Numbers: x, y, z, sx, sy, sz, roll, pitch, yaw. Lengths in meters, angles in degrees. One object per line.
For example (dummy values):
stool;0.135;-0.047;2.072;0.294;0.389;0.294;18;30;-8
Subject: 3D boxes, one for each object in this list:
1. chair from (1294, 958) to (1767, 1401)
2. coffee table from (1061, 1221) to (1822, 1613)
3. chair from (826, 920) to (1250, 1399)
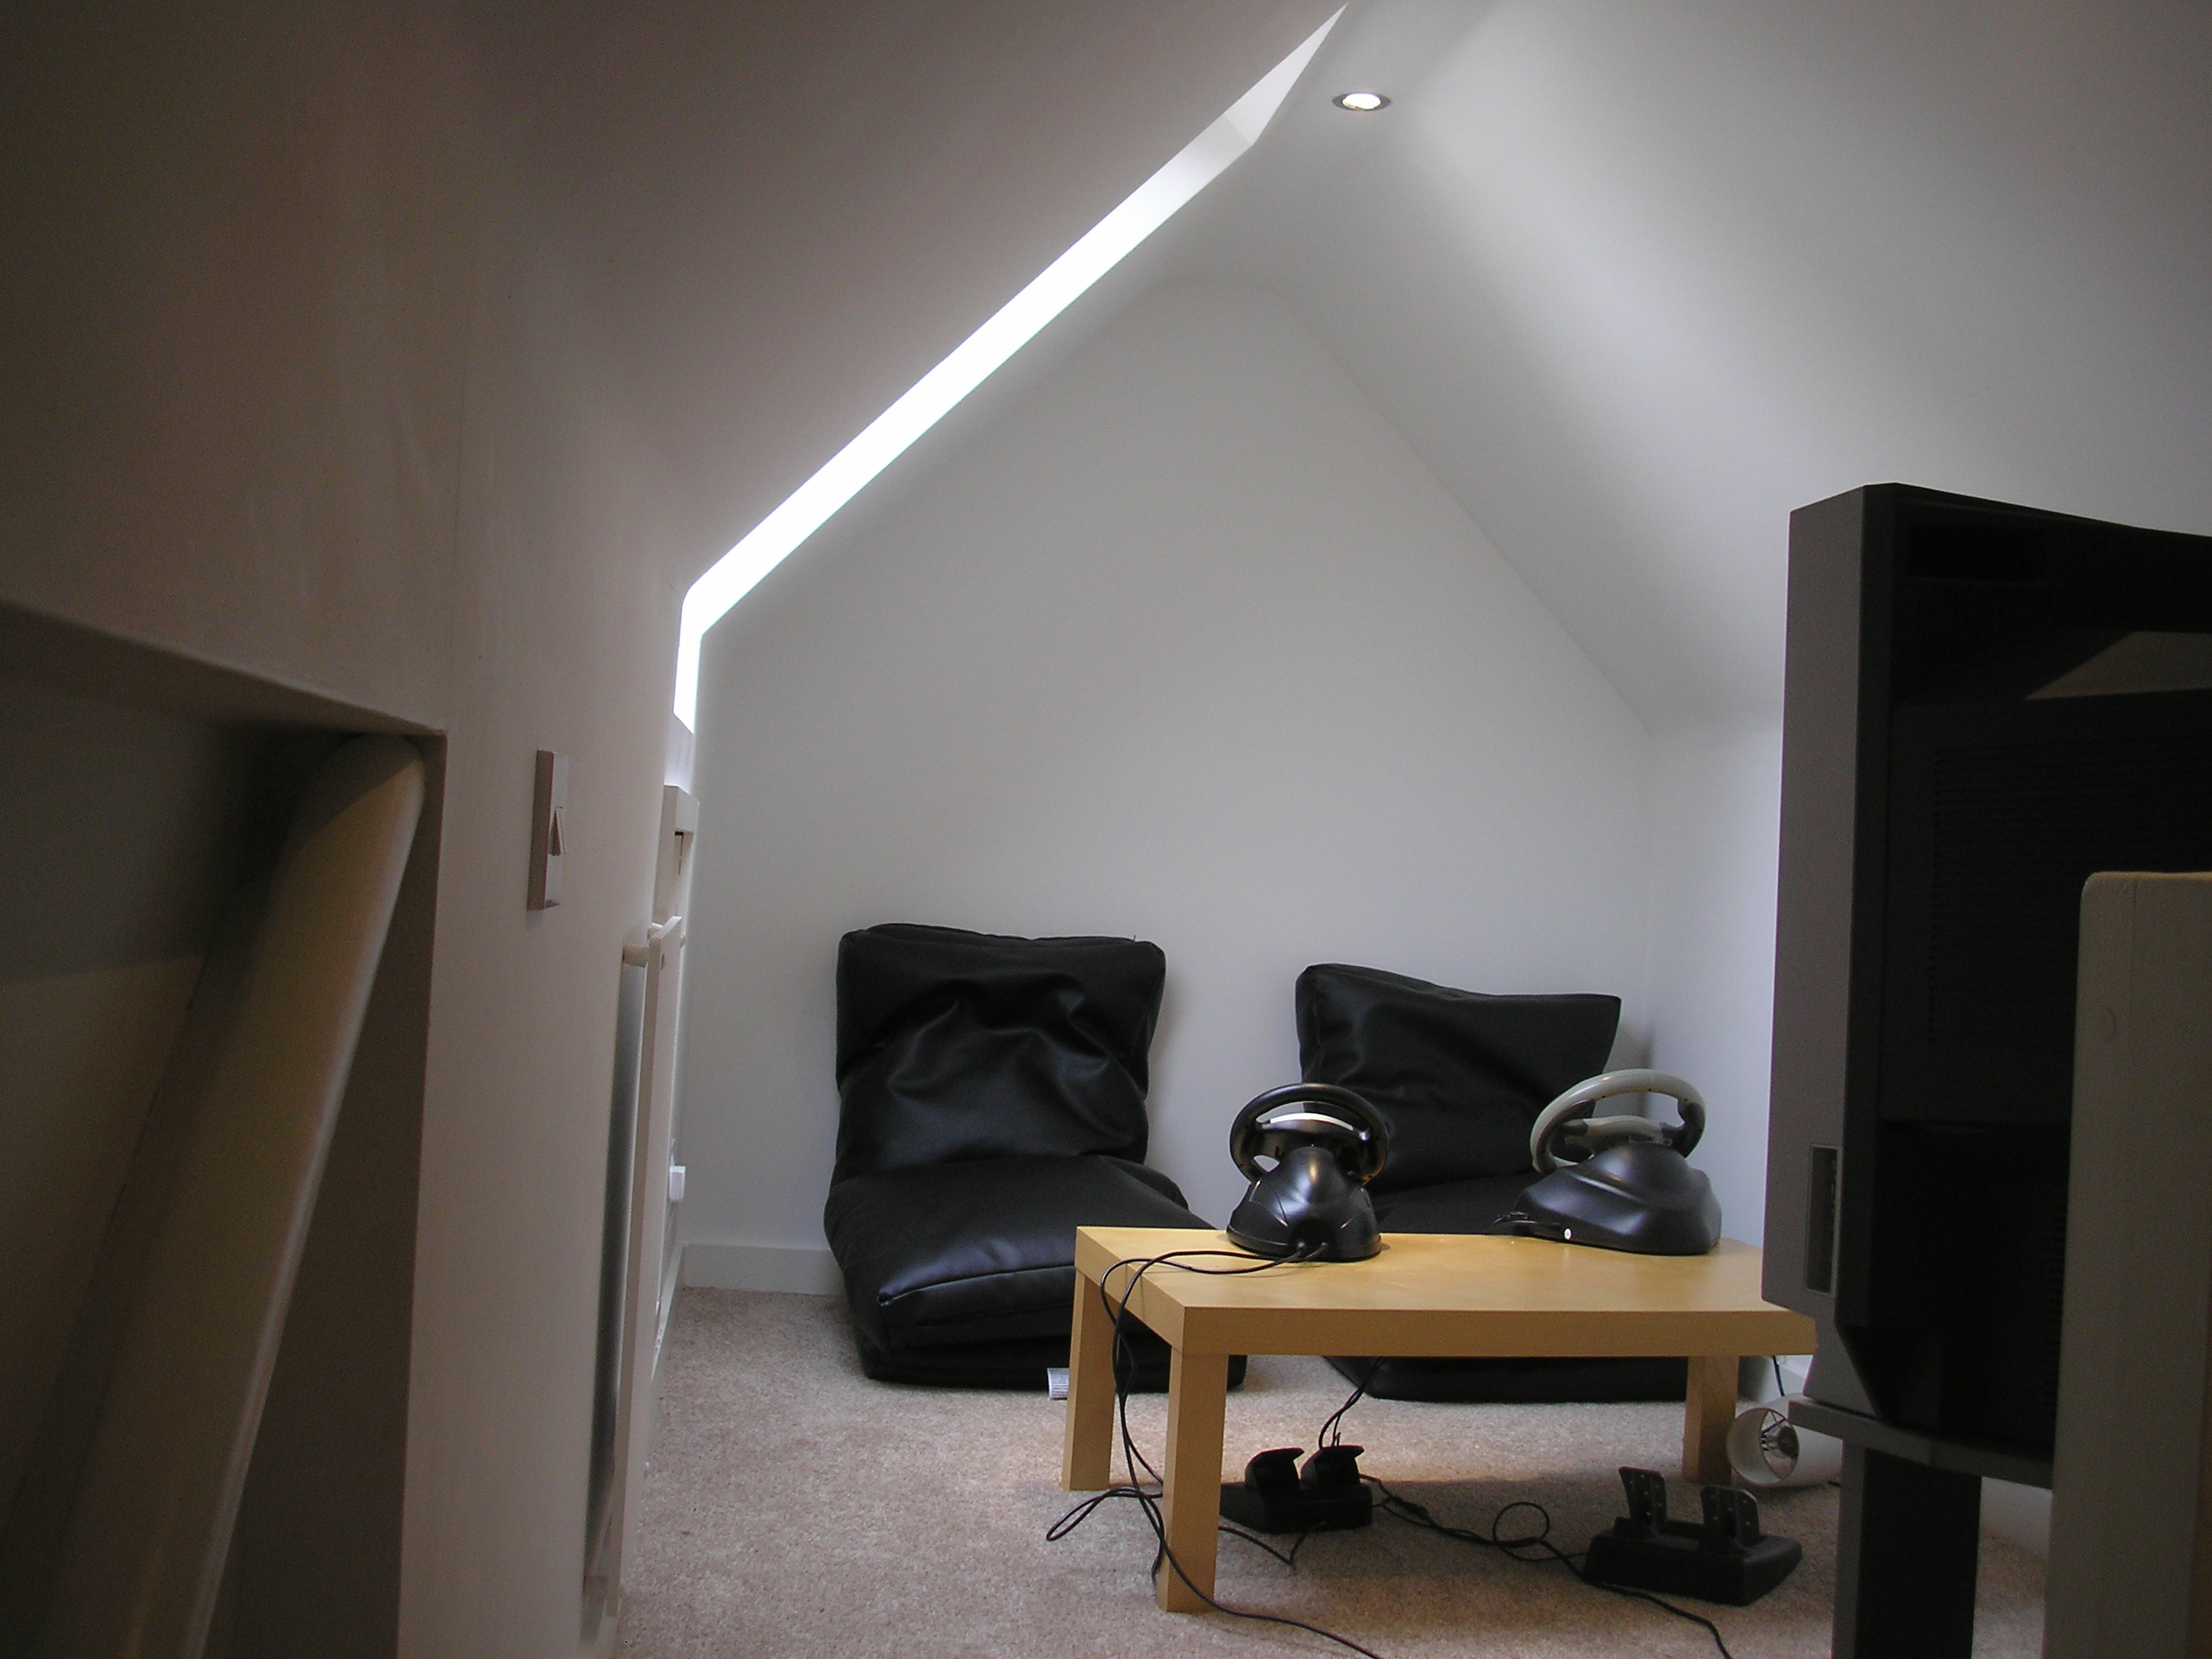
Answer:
chair;0.979;0.956;4.173;0.793;1.072;1.183;4;6;-5
coffee table;0.559;1.031;3.027;1.202;0.568;0.647;3;-1;-17
chair;-0.203;0.778;4.050;1.015;1.058;1.335;2;-3;-19
